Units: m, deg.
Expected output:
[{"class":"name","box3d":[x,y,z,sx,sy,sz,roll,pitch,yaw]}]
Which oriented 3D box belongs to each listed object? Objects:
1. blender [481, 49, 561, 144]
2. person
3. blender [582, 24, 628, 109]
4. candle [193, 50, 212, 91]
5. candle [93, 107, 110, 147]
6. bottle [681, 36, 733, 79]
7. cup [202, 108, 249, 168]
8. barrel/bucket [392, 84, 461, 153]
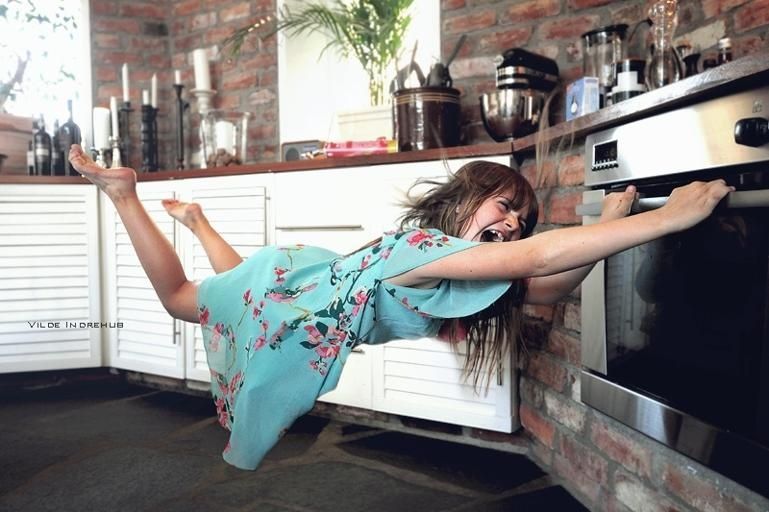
[{"class":"blender","box3d":[0.607,-0.730,2.558,0.336,0.406,0.229,2,13,13]},{"class":"person","box3d":[-0.019,0.175,2.312,2.334,0.976,1.110,0,-10,23]},{"class":"blender","box3d":[0.932,-0.806,2.414,0.199,0.315,0.192,3,19,27]},{"class":"candle","box3d":[-1.150,-1.173,3.566,0.099,0.255,0.082,-4,13,-15]},{"class":"candle","box3d":[-1.753,-0.792,3.504,0.103,0.253,0.078,-8,15,-30]},{"class":"bottle","box3d":[1.175,-0.734,2.056,0.160,0.129,0.105,7,14,31]},{"class":"cup","box3d":[-0.888,-0.653,3.282,0.334,0.338,0.327,0,-2,0]},{"class":"barrel/bucket","box3d":[0.199,-0.617,2.666,0.326,0.237,0.315,-1,6,0]}]
